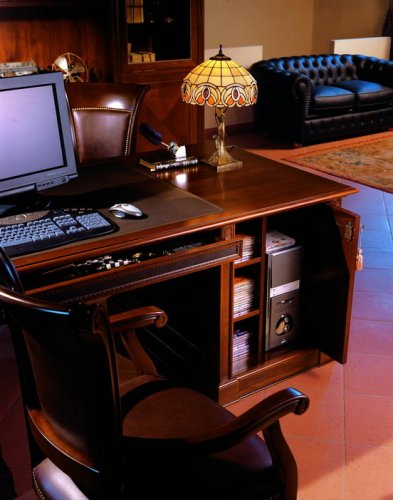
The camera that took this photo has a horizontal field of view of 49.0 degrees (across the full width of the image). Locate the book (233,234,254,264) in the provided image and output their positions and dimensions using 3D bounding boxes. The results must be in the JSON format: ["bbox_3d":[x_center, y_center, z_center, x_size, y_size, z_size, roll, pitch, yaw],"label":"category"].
[{"bbox_3d":[0.168,-0.007,1.548,0.083,0.078,0.061,-18,33,-32],"label":"book"}]

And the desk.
[{"bbox_3d":[-0.041,-0.003,1.735,1.329,0.779,0.957,-18,32,-34],"label":"desk"}]

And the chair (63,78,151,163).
[{"bbox_3d":[-0.532,-0.797,2.646,0.532,0.662,0.516,-2,19,-11],"label":"chair"}]

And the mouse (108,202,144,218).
[{"bbox_3d":[-0.211,-0.138,1.364,0.075,0.024,0.056,16,22,33],"label":"mouse"}]

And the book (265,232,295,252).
[{"bbox_3d":[0.330,-0.035,1.748,0.094,0.012,0.093,-20,35,-31],"label":"book"}]
